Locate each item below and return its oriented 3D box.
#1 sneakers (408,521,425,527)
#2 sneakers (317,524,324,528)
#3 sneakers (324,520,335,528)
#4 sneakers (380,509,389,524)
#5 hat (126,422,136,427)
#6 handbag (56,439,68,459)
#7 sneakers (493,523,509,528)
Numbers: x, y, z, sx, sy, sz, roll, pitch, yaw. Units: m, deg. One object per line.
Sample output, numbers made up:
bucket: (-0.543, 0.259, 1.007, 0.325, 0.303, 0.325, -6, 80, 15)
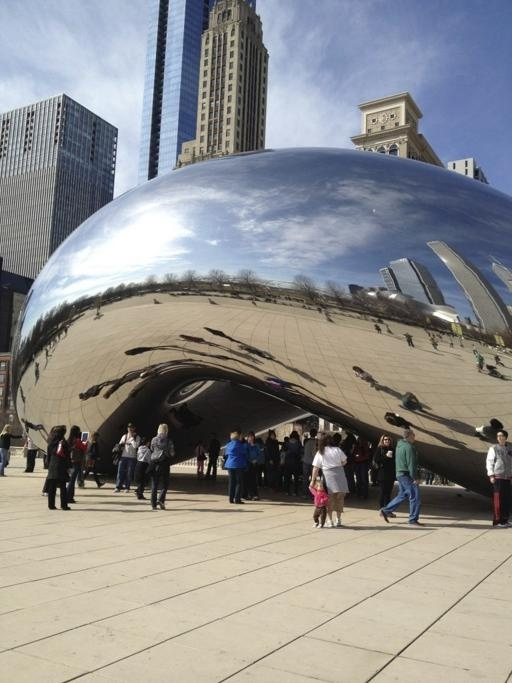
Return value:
sneakers: (2.302, 2.626, 7.557, 0.215, 0.071, 0.213, -4, -12, 14)
sneakers: (0.872, 2.532, 7.187, 0.085, 0.038, 0.195, -5, -13, 18)
sneakers: (1.036, 2.566, 7.355, 0.074, 0.080, 0.210, 4, -6, 2)
sneakers: (1.935, 2.619, 7.891, 0.127, 0.203, 0.400, -4, -12, 12)
hat: (-2.628, 1.774, 11.044, 0.173, 0.063, 0.149, 12, -6, -12)
handbag: (-3.035, 1.662, 8.159, 0.138, 0.258, 0.084, 3, -14, -20)
sneakers: (3.516, 2.646, 7.518, 0.218, 0.081, 0.070, 6, -27, 10)
